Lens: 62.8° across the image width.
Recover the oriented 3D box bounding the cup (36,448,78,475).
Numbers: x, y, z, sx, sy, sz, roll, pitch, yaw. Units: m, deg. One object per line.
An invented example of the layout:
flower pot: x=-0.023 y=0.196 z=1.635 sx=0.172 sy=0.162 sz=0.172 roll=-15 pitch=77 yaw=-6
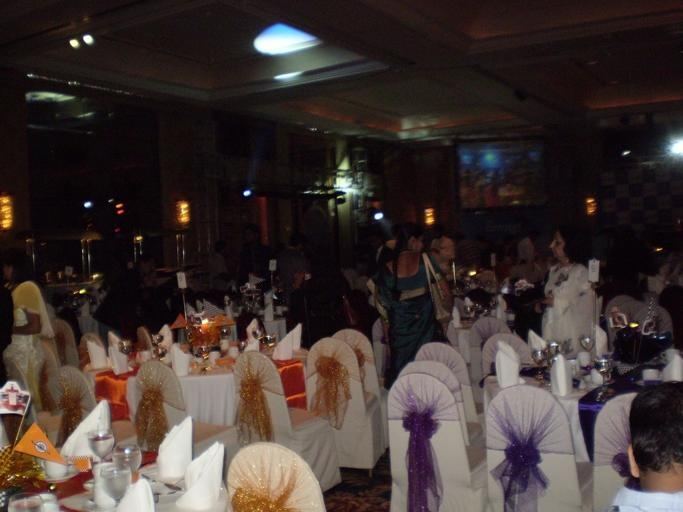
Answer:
cup: x=-1.370 y=0.994 z=2.700 sx=0.143 sy=0.077 sz=0.102 roll=7 pitch=-8 yaw=5

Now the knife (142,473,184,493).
knife: x=-0.843 y=1.044 z=2.535 sx=0.255 sy=0.038 sz=0.094 roll=0 pitch=1 yaw=30
